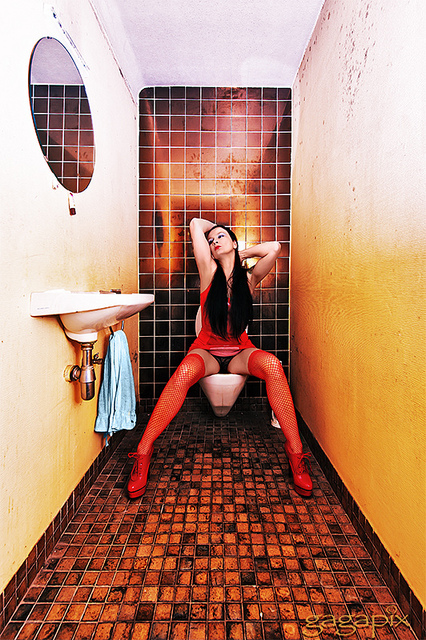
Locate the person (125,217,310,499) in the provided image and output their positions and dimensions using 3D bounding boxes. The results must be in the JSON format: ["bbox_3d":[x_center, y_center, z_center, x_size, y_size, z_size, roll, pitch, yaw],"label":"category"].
[{"bbox_3d":[-0.002,0.069,1.837,0.636,0.967,0.733,-1,10,-2],"label":"person"}]

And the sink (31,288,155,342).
[{"bbox_3d":[-0.349,-0.008,1.348,0.239,0.197,0.375,0,11,5],"label":"sink"}]
